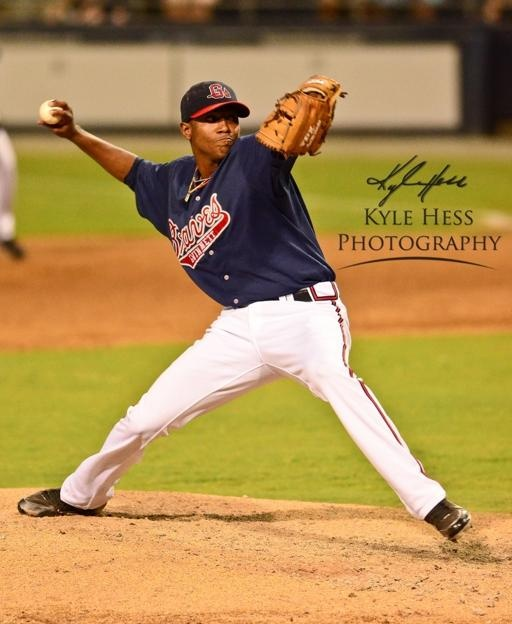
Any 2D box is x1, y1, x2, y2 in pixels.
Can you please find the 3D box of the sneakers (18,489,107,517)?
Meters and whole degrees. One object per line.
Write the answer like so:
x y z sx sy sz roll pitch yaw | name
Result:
-0.721 0.733 3.117 0.330 0.092 0.110 4 0 -7 | sneakers

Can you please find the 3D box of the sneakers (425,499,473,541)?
0.642 0.695 2.792 0.093 0.091 0.208 37 -6 -13 | sneakers

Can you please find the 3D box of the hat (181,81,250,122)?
-0.168 -0.737 2.930 0.227 0.091 0.164 -12 0 39 | hat
